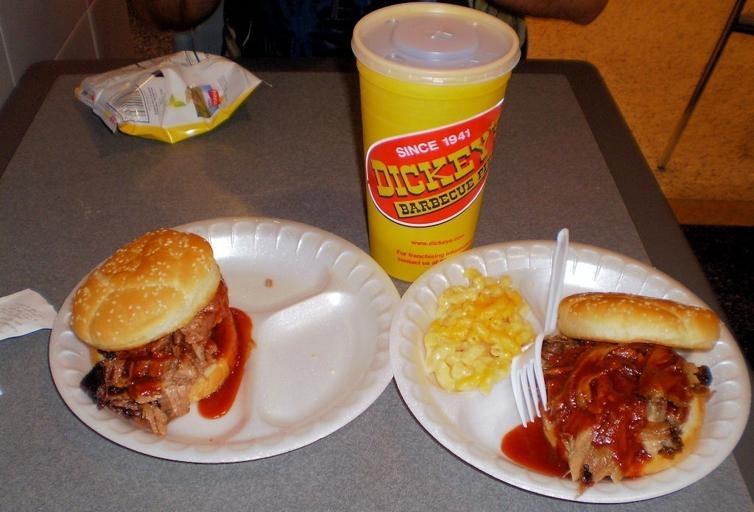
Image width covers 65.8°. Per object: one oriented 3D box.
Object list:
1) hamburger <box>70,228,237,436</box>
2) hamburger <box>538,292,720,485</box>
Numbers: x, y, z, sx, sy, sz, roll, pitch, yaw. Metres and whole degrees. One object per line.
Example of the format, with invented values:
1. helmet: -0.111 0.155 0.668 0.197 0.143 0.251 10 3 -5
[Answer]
1. hamburger: -0.698 0.243 1.833 0.462 0.208 0.607 1 83 2
2. hamburger: 0.767 0.373 1.839 0.597 0.200 0.493 -40 56 -10
